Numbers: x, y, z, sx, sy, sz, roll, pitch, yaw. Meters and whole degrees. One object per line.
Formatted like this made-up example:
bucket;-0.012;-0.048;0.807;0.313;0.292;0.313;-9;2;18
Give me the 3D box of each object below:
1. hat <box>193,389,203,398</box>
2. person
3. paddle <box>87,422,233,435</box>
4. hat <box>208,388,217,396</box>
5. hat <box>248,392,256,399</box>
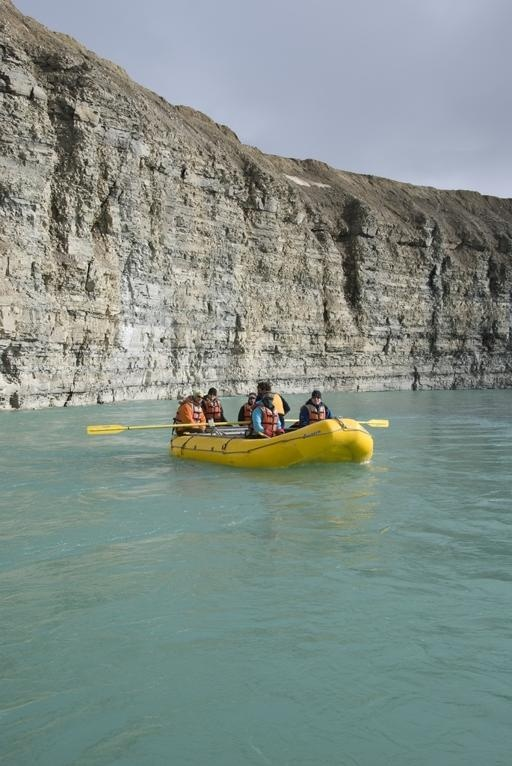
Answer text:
hat;-1.140;0.223;12.959;0.149;0.159;0.192;11;15;27
person;0.019;0.672;11.406;1.976;0.733;1.313;-13;-18;38
paddle;-2.087;0.975;14.180;2.937;0.149;0.304;-6;6;-3
hat;-0.834;0.184;12.857;0.143;0.147;0.171;0;1;4
hat;-0.067;0.252;12.890;0.117;0.078;0.097;-3;-1;3
